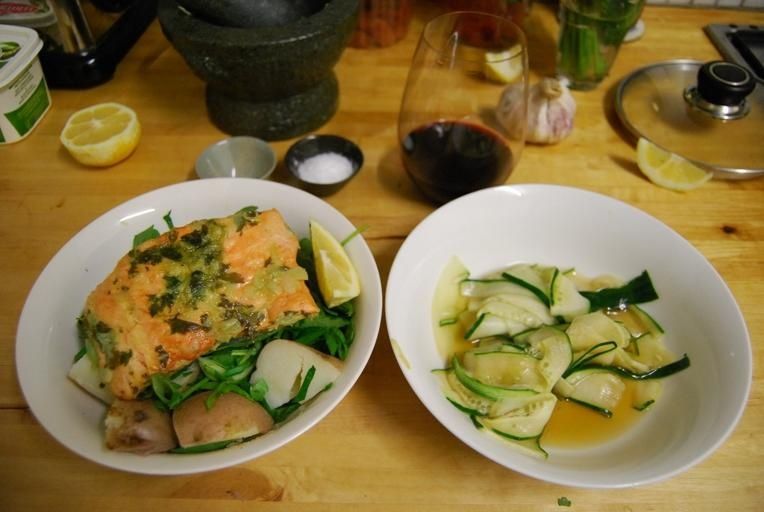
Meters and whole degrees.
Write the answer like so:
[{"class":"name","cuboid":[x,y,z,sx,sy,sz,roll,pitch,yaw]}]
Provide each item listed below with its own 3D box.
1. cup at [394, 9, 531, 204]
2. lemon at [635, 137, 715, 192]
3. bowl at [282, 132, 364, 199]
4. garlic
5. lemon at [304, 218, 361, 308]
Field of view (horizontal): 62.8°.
[{"class":"cup","cuboid":[0.218,-0.357,1.645,0.315,0.508,0.256,8,33,14]},{"class":"lemon","cuboid":[0.815,-0.257,1.822,0.158,0.149,0.193,-8,34,-9]},{"class":"bowl","cuboid":[-0.162,-0.272,1.779,0.198,0.172,0.221,-20,40,-29]},{"class":"garlic","cuboid":[0.422,-0.399,1.715,0.192,0.189,0.169,-7,37,-15]},{"class":"lemon","cuboid":[-0.121,0.017,1.480,0.100,0.048,0.211,-12,61,-21]}]
